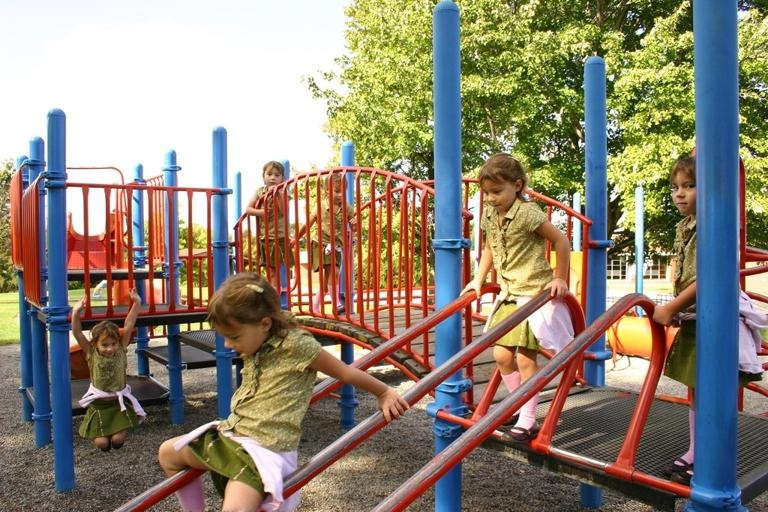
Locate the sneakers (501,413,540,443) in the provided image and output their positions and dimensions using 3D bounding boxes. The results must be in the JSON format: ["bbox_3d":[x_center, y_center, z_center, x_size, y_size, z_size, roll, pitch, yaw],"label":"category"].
[{"bbox_3d":[0.948,1.207,5.221,0.245,0.126,0.457,1,3,31],"label":"sneakers"}]

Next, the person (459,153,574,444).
[{"bbox_3d":[0.995,0.237,5.525,0.821,2.022,0.760,0,6,36],"label":"person"}]

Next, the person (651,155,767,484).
[{"bbox_3d":[2.172,0.357,4.993,0.663,2.089,0.964,-1,5,29],"label":"person"}]

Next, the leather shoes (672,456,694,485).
[{"bbox_3d":[1.917,1.387,4.804,0.162,0.115,0.417,-4,-5,27],"label":"leather shoes"}]

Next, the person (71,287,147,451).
[{"bbox_3d":[-2.596,1.125,7.105,0.627,1.527,0.514,-5,5,-24],"label":"person"}]
